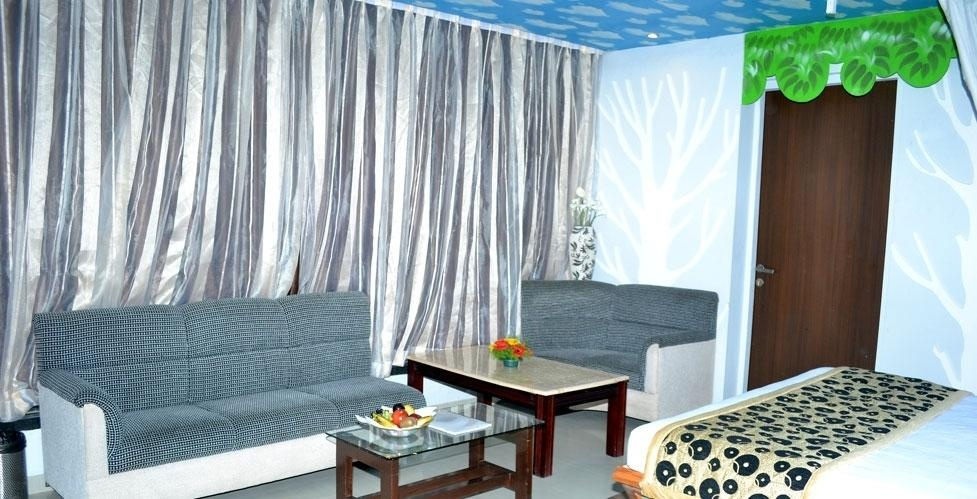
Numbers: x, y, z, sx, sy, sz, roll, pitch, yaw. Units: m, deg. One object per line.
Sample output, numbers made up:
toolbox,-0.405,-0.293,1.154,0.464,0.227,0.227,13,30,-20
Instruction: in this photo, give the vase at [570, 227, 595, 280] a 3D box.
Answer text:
vase,1.095,0.034,7.798,0.292,0.622,0.185,1,8,5

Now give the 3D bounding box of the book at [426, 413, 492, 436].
book,-0.258,1.419,5.445,0.476,0.068,0.324,3,7,28

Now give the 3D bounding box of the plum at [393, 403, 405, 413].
plum,-0.728,1.266,5.326,0.082,0.071,0.076,0,9,-7

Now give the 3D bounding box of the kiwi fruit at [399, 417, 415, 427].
kiwi fruit,-0.637,1.348,5.218,0.086,0.042,0.084,26,-38,-37

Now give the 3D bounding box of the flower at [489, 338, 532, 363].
flower,0.198,0.982,6.590,0.296,0.150,0.275,2,-4,3

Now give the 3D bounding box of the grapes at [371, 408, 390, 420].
grapes,-0.868,1.312,5.323,0.108,0.035,0.097,-1,27,1

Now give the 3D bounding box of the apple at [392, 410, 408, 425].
apple,-0.702,1.320,5.241,0.126,0.108,0.111,-1,22,13

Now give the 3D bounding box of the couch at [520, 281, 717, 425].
couch,1.336,1.032,7.363,2.048,1.179,1.178,5,10,41
